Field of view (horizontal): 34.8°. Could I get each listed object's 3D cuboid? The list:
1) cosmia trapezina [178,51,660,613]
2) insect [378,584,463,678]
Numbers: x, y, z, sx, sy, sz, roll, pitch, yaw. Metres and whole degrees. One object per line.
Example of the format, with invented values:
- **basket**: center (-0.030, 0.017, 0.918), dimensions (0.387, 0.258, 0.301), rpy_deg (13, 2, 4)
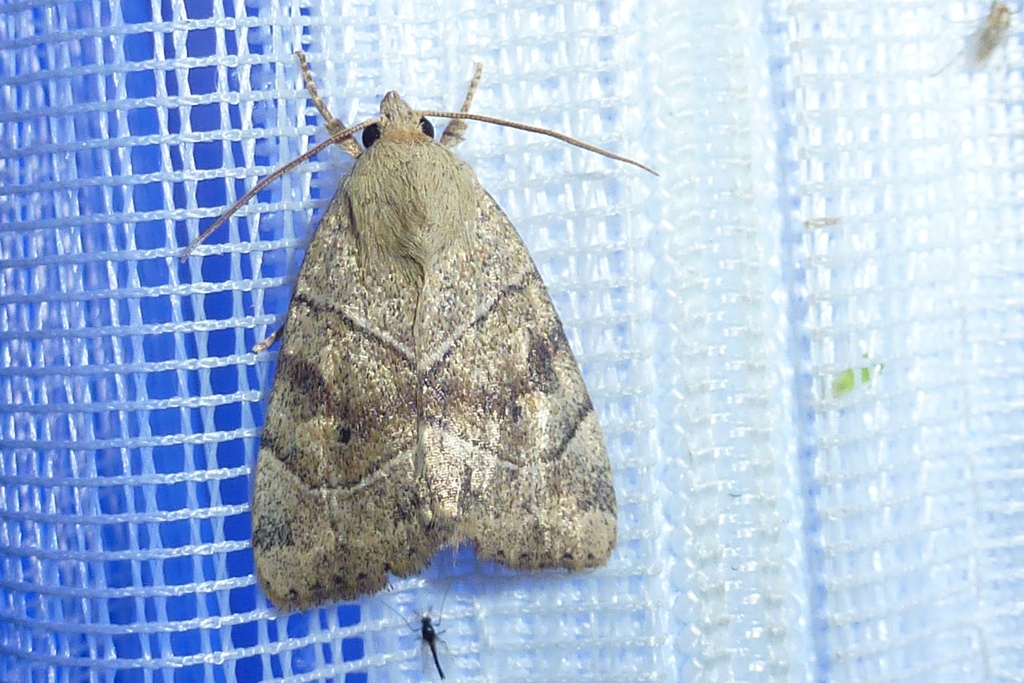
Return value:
- **cosmia trapezina**: center (-0.160, 0.046, 2.371), dimensions (0.712, 0.843, 0.223), rpy_deg (-6, 1, 1)
- **insect**: center (-0.138, 0.445, 2.422), dimensions (0.099, 0.143, 0.106), rpy_deg (1, 19, 8)
